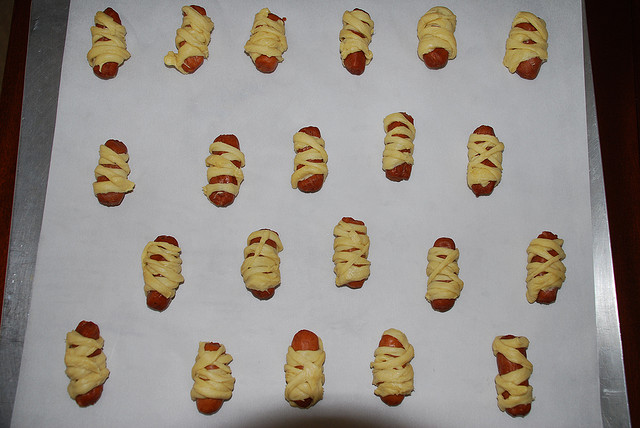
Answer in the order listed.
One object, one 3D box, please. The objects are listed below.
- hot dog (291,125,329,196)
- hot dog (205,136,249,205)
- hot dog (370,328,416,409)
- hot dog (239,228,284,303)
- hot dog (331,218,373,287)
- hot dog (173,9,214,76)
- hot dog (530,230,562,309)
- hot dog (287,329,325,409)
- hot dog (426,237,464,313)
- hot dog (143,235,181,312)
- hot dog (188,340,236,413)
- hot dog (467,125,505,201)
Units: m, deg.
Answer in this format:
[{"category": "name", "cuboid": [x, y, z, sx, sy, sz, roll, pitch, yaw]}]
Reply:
[{"category": "hot dog", "cuboid": [-0.053, -0.276, 3.578, 0.189, 0.271, 0.226, 4, -38, 1]}, {"category": "hot dog", "cuboid": [-0.490, -0.229, 3.528, 0.195, 0.358, 0.126, 3, -3, -3]}, {"category": "hot dog", "cuboid": [0.372, 0.786, 3.432, 0.225, 0.408, 0.135, 0, -5, 3]}, {"category": "hot dog", "cuboid": [-0.306, 0.267, 3.528, 0.205, 0.403, 0.157, 6, -45, -4]}, {"category": "hot dog", "cuboid": [0.160, 0.198, 3.416, 0.183, 0.346, 0.115, -5, -4, 1]}, {"category": "hot dog", "cuboid": [-0.690, -0.918, 3.557, 0.198, 0.357, 0.117, 1, 1, 0]}, {"category": "hot dog", "cuboid": [1.179, 0.304, 3.565, 0.181, 0.433, 0.153, 1, -52, 20]}, {"category": "hot dog", "cuboid": [-0.073, 0.791, 3.461, 0.174, 0.374, 0.137, 1, -8, 1]}, {"category": "hot dog", "cuboid": [0.639, 0.364, 3.562, 0.185, 0.393, 0.133, 5, -53, 7]}, {"category": "hot dog", "cuboid": [-0.828, 0.297, 3.500, 0.198, 0.291, 0.196, 12, -38, -9]}, {"category": "hot dog", "cuboid": [-0.557, 0.831, 3.472, 0.240, 0.397, 0.115, -2, -40, -9]}, {"category": "hot dog", "cuboid": [0.860, -0.270, 3.546, 0.177, 0.366, 0.107, 3, 4, 4]}]
